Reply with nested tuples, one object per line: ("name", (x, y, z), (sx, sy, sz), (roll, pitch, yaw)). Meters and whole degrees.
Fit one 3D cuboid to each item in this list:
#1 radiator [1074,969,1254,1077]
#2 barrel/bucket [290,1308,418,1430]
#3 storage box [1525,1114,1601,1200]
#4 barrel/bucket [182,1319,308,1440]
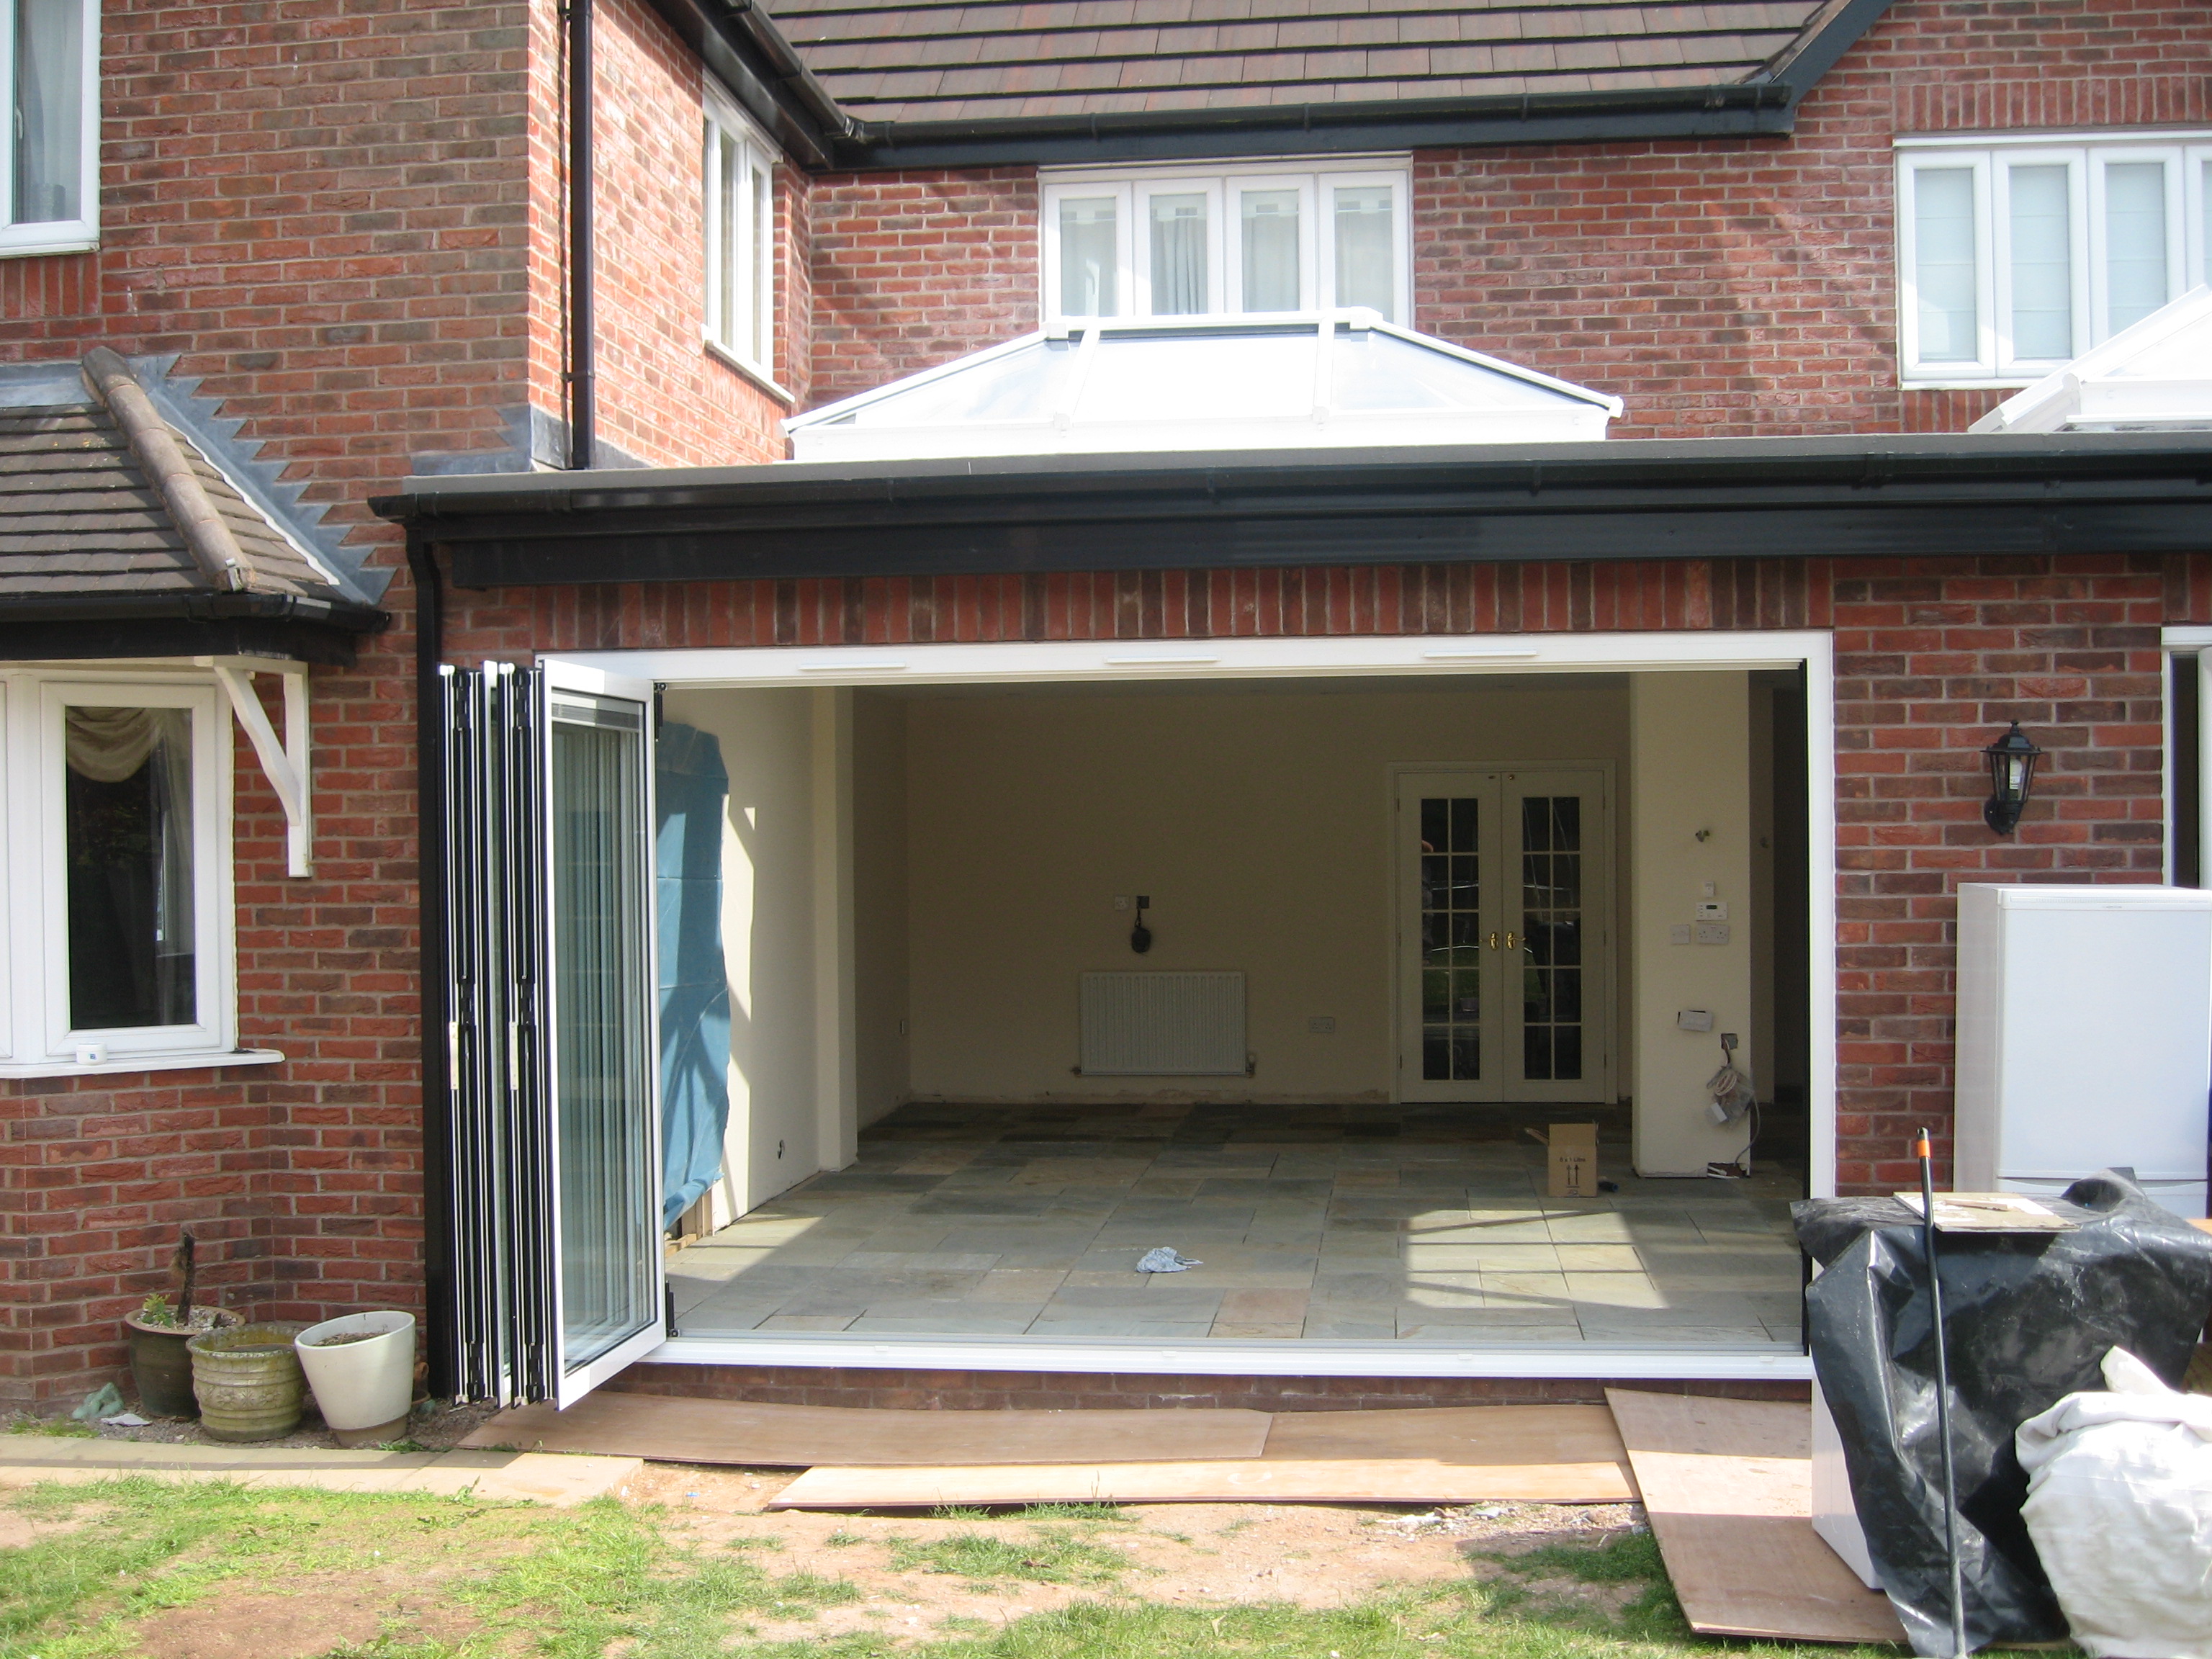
("radiator", (0.439, 1.498, 17.797), (1.534, 0.850, 0.111), (3, -7, -28))
("barrel/bucket", (-3.412, 2.500, 10.599), (0.562, 0.369, 0.521), (-4, 6, 0))
("storage box", (2.741, 2.012, 14.147), (0.674, 0.573, 0.342), (0, -4, 5))
("barrel/bucket", (-3.904, 2.531, 10.533), (0.548, 0.351, 0.513), (0, 1, 0))
